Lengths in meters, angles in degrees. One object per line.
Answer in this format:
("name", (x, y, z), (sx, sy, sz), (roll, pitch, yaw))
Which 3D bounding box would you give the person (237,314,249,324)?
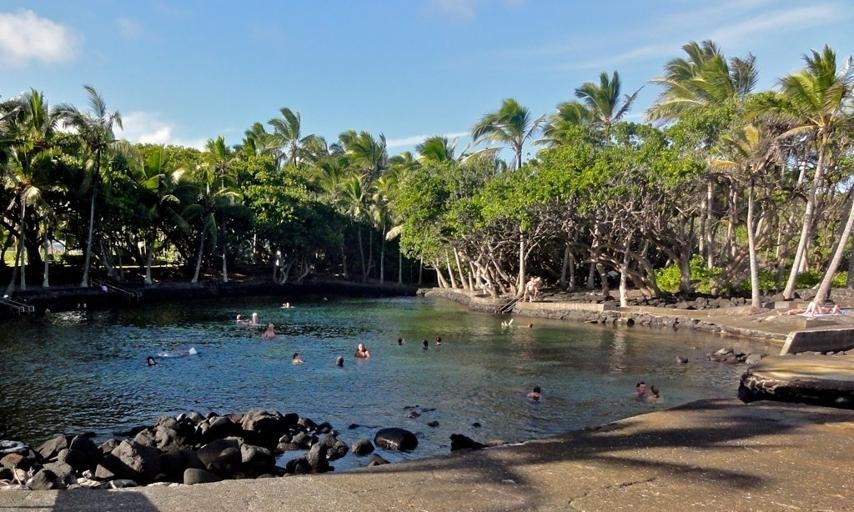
("person", (-13.035, 4.466, 43.878), (0.707, 0.404, 0.870), (2, -5, -4))

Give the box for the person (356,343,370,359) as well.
("person", (-3.321, 4.977, 31.886), (0.610, 0.525, 0.776), (-1, -26, -5))

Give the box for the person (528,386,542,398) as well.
("person", (4.520, 5.609, 25.958), (0.587, 0.401, 0.892), (1, 1, 14))
